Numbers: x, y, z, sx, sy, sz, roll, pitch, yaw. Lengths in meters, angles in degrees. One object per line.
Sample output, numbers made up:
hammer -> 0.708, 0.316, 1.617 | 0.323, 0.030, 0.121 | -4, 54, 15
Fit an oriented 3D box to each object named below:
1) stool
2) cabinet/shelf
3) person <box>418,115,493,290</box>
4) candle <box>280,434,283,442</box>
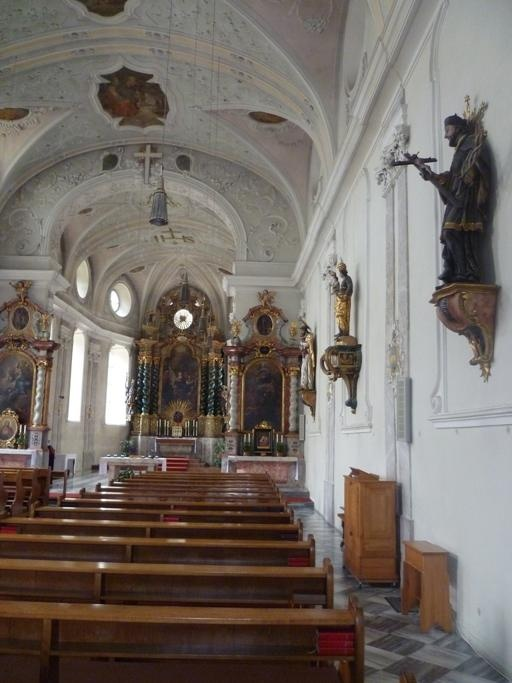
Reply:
stool -> 1.237, 1.791, 4.090 | 0.246, 0.523, 0.576 | 0, -10, 1
cabinet/shelf -> 1.106, 1.831, 5.400 | 0.355, 0.865, 0.913 | 1, -15, 0
person -> 1.349, -0.969, 3.788 | 0.448, 1.272, 0.282 | 2, -11, 21
candle -> 0.656, 2.462, 14.463 | 0.099, 0.184, 0.059 | 5, -10, 5
